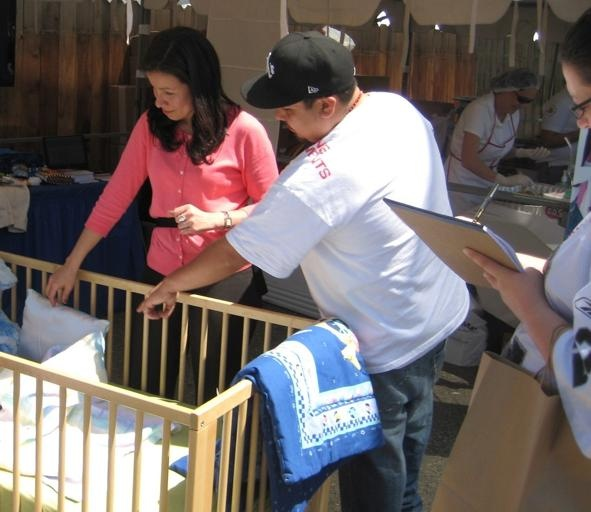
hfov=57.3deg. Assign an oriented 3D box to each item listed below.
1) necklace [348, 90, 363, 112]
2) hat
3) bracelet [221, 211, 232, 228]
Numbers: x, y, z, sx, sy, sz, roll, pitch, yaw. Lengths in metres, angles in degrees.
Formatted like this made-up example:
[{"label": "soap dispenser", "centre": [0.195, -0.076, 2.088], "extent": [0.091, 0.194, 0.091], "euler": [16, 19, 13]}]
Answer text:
[{"label": "necklace", "centre": [0.176, -0.445, 1.548], "extent": [0.028, 0.064, 0.051], "euler": [24, 34, 1]}, {"label": "hat", "centre": [-0.003, -0.472, 1.496], "extent": [0.247, 0.206, 0.146], "euler": [-6, -32, 1]}, {"label": "bracelet", "centre": [-0.245, -0.132, 1.966], "extent": [0.029, 0.059, 0.053], "euler": [0, -9, -16]}]
